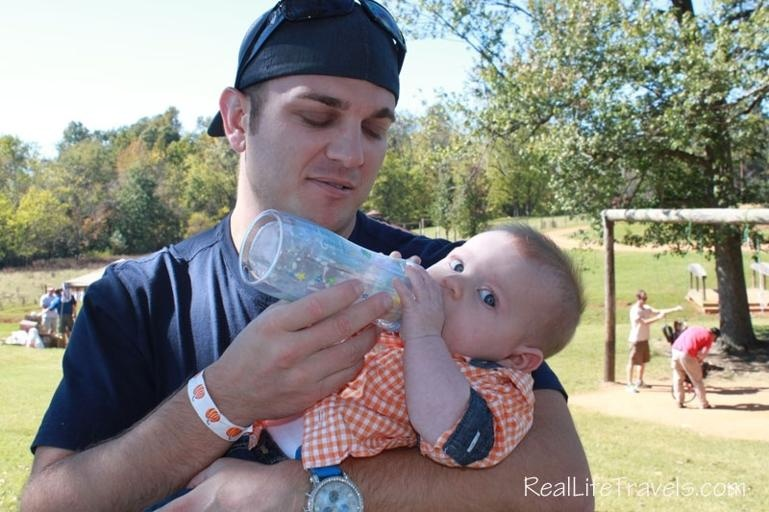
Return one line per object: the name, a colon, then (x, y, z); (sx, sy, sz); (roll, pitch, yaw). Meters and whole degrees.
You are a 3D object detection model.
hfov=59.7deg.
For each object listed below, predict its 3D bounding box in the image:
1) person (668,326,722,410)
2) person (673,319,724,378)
person: (6.515, 2.380, 14.232); (0.740, 1.666, 0.540); (0, 7, -3)
person: (7.191, 2.195, 15.327); (0.586, 1.345, 0.369); (-12, 0, -8)
